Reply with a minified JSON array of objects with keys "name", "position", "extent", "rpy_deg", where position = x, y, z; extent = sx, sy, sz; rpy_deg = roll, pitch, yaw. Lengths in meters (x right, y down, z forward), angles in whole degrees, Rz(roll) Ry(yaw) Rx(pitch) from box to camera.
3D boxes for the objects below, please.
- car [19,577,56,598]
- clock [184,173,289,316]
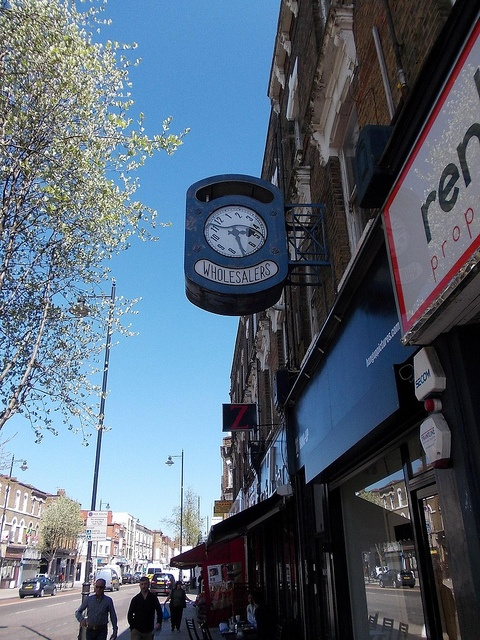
[{"name":"car","position":[-15.724,20.464,37.968],"extent":[1.430,1.192,3.122],"rpy_deg":[-1,-30,-5]},{"name":"clock","position":[-0.048,-0.983,6.607],"extent":[1.281,2.354,0.649],"rpy_deg":[-1,-40,-1]}]
